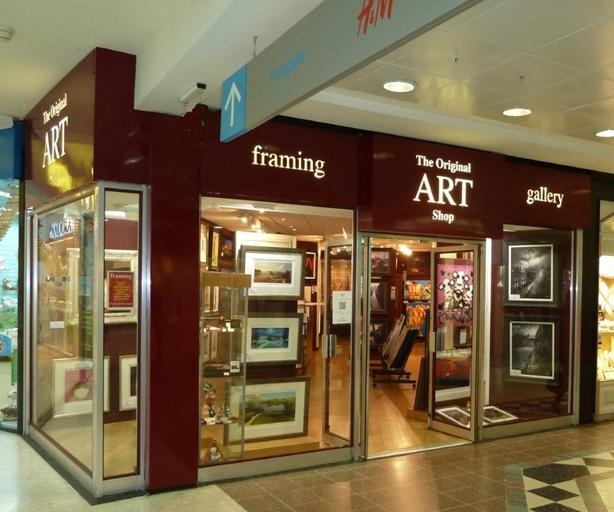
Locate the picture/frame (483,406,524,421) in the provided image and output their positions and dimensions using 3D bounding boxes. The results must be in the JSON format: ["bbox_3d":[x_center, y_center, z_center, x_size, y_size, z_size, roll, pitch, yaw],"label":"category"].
[{"bbox_3d":[2.314,1.917,6.489,0.322,0.047,0.231,-3,10,-25],"label":"picture/frame"}]

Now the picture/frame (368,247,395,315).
[{"bbox_3d":[0.854,0.266,6.208,0.085,0.927,0.815,1,0,26],"label":"picture/frame"}]

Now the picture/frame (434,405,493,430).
[{"bbox_3d":[1.777,1.925,6.463,0.051,0.233,0.496,2,-1,-38],"label":"picture/frame"}]

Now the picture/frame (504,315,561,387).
[{"bbox_3d":[2.826,1.202,6.759,0.893,1.064,0.083,2,-4,-28],"label":"picture/frame"}]

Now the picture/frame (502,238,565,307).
[{"bbox_3d":[2.843,0.208,6.779,0.828,0.927,0.074,1,1,-25],"label":"picture/frame"}]
